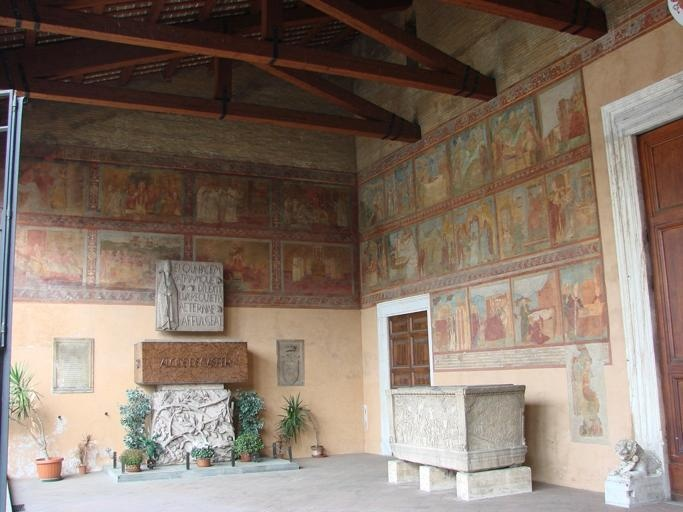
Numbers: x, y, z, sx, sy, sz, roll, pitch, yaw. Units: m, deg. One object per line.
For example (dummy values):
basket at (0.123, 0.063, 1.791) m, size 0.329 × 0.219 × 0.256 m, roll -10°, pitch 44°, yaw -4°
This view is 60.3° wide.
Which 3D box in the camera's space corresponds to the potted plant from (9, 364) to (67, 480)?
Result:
potted plant at (-6.052, 3.252, 11.616) m, size 0.958 × 2.223 × 1.036 m, roll 3°, pitch -14°, yaw -28°

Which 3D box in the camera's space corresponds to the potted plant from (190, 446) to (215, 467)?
potted plant at (-2.814, 4.052, 11.829) m, size 0.438 × 0.363 × 0.371 m, roll 0°, pitch -12°, yaw -12°

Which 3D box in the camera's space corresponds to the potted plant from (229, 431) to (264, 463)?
potted plant at (-1.955, 3.990, 12.356) m, size 0.558 × 0.493 × 0.544 m, roll 2°, pitch -1°, yaw 6°

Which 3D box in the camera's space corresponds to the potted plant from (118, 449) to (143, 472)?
potted plant at (-3.989, 3.910, 11.184) m, size 0.403 × 0.382 × 0.287 m, roll 2°, pitch -13°, yaw -21°

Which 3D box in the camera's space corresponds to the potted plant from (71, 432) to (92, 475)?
potted plant at (-5.325, 4.076, 12.121) m, size 0.275 × 0.730 × 0.122 m, roll 9°, pitch -17°, yaw -44°
